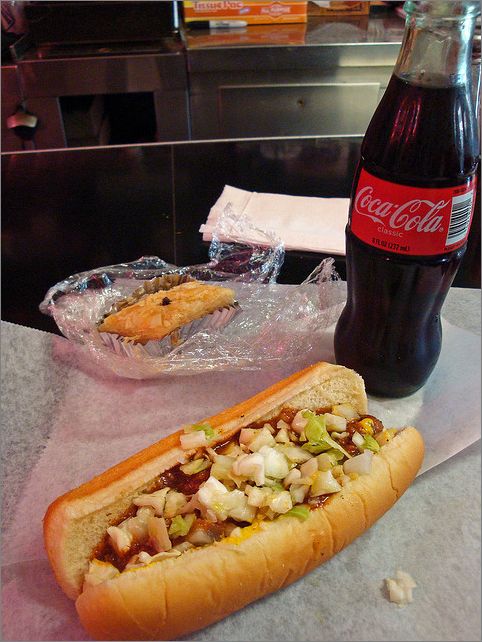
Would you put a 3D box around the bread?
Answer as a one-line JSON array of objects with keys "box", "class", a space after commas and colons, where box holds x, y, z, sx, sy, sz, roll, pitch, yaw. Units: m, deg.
[{"box": [-0.184, -0.029, 1.348, 0.260, 0.064, 0.149, -27, 41, -31], "class": "bread"}]
